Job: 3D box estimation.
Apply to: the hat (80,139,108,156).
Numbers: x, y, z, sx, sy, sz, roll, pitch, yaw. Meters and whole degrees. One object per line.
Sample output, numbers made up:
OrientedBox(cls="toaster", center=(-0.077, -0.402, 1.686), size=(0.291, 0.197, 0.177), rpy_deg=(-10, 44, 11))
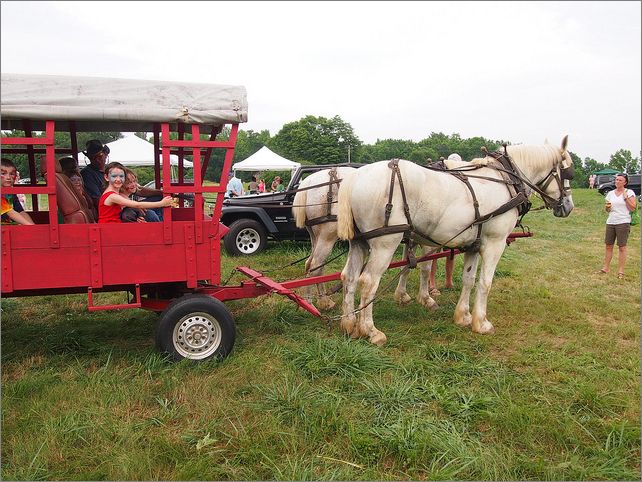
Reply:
OrientedBox(cls="hat", center=(-3.126, -1.304, 7.196), size=(0.376, 0.140, 0.287), rpy_deg=(-11, 6, -39))

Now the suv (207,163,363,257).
OrientedBox(cls="suv", center=(-0.886, -0.621, 11.139), size=(3.282, 1.588, 1.710), rpy_deg=(1, 0, -9))

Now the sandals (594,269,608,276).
OrientedBox(cls="sandals", center=(5.469, 0.622, 10.042), size=(0.336, 0.080, 0.123), rpy_deg=(1, -3, -33))

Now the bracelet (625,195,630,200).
OrientedBox(cls="bracelet", center=(5.760, -0.821, 9.687), size=(0.026, 0.090, 0.081), rpy_deg=(-11, 17, -43))

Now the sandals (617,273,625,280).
OrientedBox(cls="sandals", center=(5.641, 0.670, 9.667), size=(0.125, 0.090, 0.323), rpy_deg=(-7, -6, 38))

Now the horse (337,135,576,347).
OrientedBox(cls="horse", center=(2.053, 0.049, 8.489), size=(4.243, 2.994, 1.099), rpy_deg=(2, 1, -22))

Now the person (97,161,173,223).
OrientedBox(cls="person", center=(-2.151, -0.431, 6.084), size=(0.908, 0.882, 0.480), rpy_deg=(1, 16, -2))

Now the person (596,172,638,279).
OrientedBox(cls="person", center=(5.859, -0.357, 10.114), size=(0.515, 1.932, 1.516), rpy_deg=(8, 14, 28))
